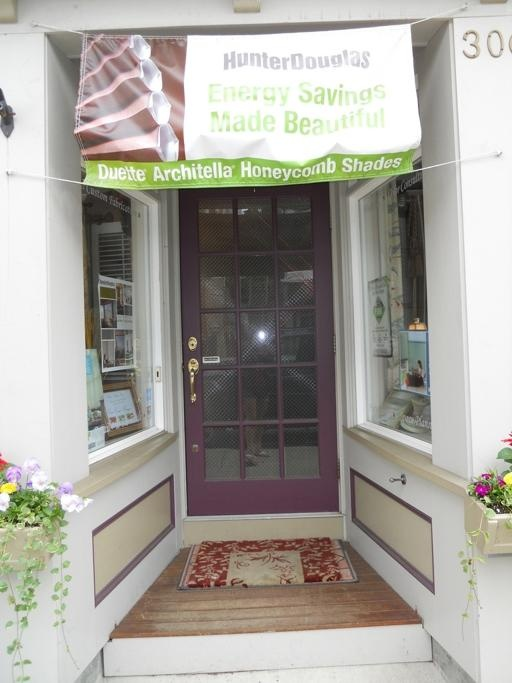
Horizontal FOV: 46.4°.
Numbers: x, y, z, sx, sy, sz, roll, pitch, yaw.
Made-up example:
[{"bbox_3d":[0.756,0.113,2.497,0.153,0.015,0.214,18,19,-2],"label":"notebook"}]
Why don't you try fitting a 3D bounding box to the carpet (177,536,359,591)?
[{"bbox_3d":[0.055,1.019,2.782,0.762,0.078,0.574,-4,5,1],"label":"carpet"}]
